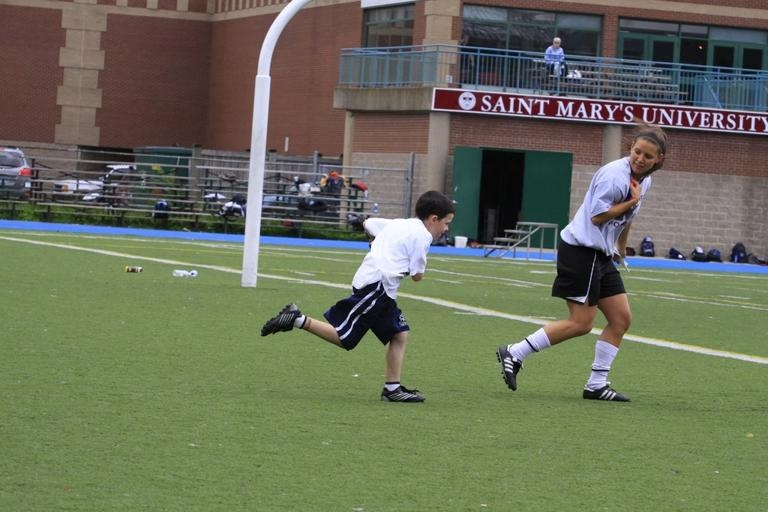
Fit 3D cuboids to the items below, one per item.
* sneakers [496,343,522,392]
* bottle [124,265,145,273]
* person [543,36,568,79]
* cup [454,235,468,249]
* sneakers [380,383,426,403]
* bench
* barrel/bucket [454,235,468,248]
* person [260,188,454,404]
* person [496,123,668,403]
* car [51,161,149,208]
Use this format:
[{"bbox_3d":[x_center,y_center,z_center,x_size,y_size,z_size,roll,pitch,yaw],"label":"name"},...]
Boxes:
[{"bbox_3d":[1.205,1.058,10.343,0.279,0.455,0.180,-19,-1,8],"label":"sneakers"},{"bbox_3d":[-4.146,0.218,17.847,0.282,0.082,0.370,1,9,-14],"label":"bottle"},{"bbox_3d":[5.408,-6.274,33.904,0.773,1.264,0.728,5,10,2],"label":"person"},{"bbox_3d":[2.383,-0.468,33.616,0.428,0.315,0.359,2,-1,-9],"label":"cup"},{"bbox_3d":[0.170,1.293,10.047,0.372,0.122,0.171,-1,1,-6],"label":"sneakers"},{"bbox_3d":[7.211,-5.590,34.255,5.048,1.132,0.848,1,11,-16],"label":"bench"},{"bbox_3d":[2.372,-0.482,33.627,0.435,0.323,0.359,3,-2,-20],"label":"barrel/bucket"},{"bbox_3d":[-0.145,0.343,10.008,1.371,1.964,0.457,5,11,3],"label":"person"},{"bbox_3d":[1.956,0.048,10.335,1.388,2.686,0.517,3,11,-8],"label":"person"},{"bbox_3d":[-8.472,-2.103,32.549,3.146,1.134,1.789,-3,9,-17],"label":"car"}]
